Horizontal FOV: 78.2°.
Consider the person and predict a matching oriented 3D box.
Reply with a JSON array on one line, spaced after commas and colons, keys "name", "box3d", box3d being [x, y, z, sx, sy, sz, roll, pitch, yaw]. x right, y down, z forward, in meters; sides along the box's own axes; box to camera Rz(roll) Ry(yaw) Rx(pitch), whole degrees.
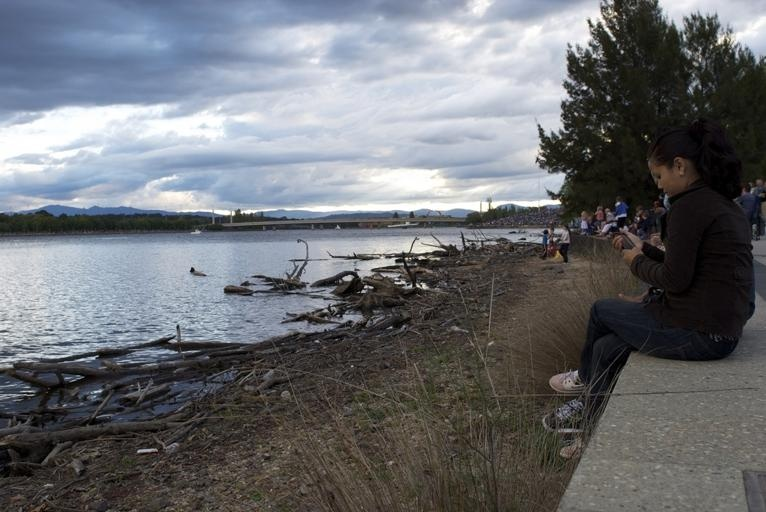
[{"name": "person", "box3d": [2.398, 0.195, 4.057, 1.574, 2.640, 0.921, -4, 8, 16]}]

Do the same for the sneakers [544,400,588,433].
[{"name": "sneakers", "box3d": [1.543, 1.443, 4.248, 0.597, 0.168, 0.230, -5, -32, 20]}]

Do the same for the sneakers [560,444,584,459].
[{"name": "sneakers", "box3d": [1.529, 1.579, 3.824, 0.192, 0.048, 0.151, -3, -2, -35]}]

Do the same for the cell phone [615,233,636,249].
[{"name": "cell phone", "box3d": [2.369, -0.141, 4.626, 0.160, 0.062, 0.272, -33, -39, 30]}]

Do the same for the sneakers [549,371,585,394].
[{"name": "sneakers", "box3d": [1.851, 1.263, 4.692, 0.380, 0.152, 0.151, -7, -23, 41]}]
